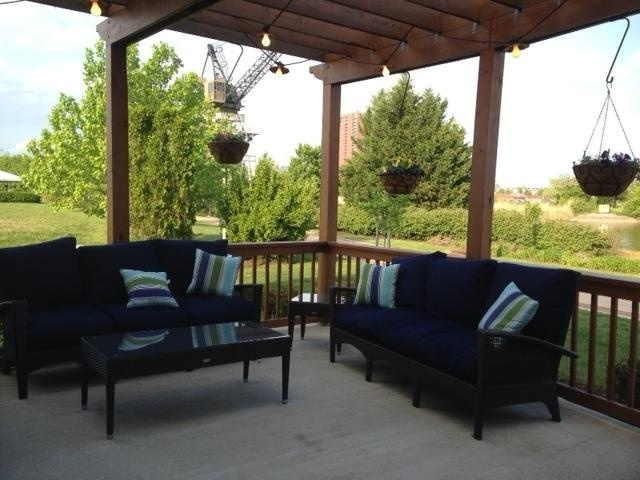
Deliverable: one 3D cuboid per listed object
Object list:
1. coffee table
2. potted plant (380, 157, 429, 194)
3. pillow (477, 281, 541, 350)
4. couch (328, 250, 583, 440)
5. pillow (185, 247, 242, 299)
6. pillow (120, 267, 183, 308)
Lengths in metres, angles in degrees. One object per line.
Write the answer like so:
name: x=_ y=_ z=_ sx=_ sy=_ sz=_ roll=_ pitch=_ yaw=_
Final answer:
coffee table: x=-1.074 y=1.070 z=4.440 sx=1.563 sy=0.599 sz=0.619 roll=-3 pitch=10 yaw=-24
potted plant: x=0.795 y=-0.624 z=5.360 sx=0.421 sy=0.356 sz=0.327 roll=2 pitch=9 yaw=5
pillow: x=1.513 y=0.589 z=4.413 sx=0.138 sy=0.460 sz=0.437 roll=36 pitch=-3 yaw=-8
couch: x=1.166 y=0.744 z=4.842 sx=1.622 sy=1.322 sz=2.367 roll=1 pitch=4 yaw=-20
pillow: x=-1.089 y=0.352 z=5.679 sx=0.477 sy=0.434 sz=0.144 roll=9 pitch=-16 yaw=3
pillow: x=-1.619 y=0.456 z=5.232 sx=0.571 sy=0.361 sz=0.345 roll=0 pitch=8 yaw=-40
